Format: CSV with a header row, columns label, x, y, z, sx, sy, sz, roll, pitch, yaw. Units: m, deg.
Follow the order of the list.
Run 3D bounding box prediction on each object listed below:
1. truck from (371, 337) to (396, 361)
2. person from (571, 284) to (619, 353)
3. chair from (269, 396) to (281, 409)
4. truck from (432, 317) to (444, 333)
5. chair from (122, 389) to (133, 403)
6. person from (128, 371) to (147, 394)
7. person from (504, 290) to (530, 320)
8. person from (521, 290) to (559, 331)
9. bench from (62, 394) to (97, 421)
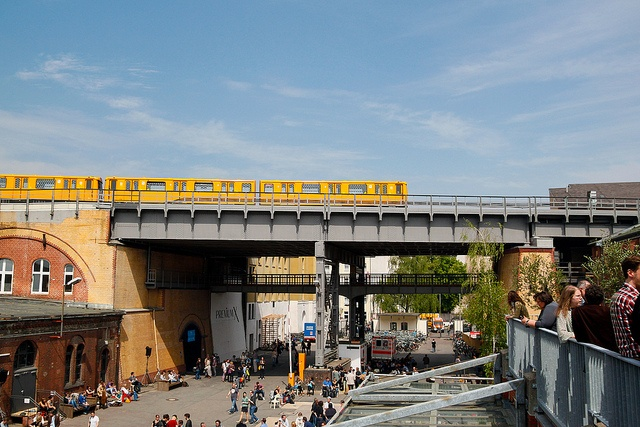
label,x,y,z,sx,sy,sz,roll,pitch,yaw
truck,6.078,12.924,59.854,1.639,1.506,2.642,0,-2,10
person,7.695,3.138,17.379,1.059,2.580,0.733,-10,27,13
chair,-3.053,13.111,43.110,0.802,1.073,0.797,-1,-5,10
truck,20.318,19.377,106.883,1.917,1.950,3.373,1,-3,6
chair,-13.818,13.132,44.811,0.866,0.875,0.665,-16,-19,38
person,-14.107,13.058,47.946,0.885,0.781,1.608,7,-4,-11
person,6.902,3.306,22.224,0.869,1.117,0.916,-6,1,-20
person,7.145,3.117,19.933,0.903,1.174,1.573,-3,-7,4
bench,-15.960,12.659,41.180,1.157,1.286,2.914,-3,-7,7
